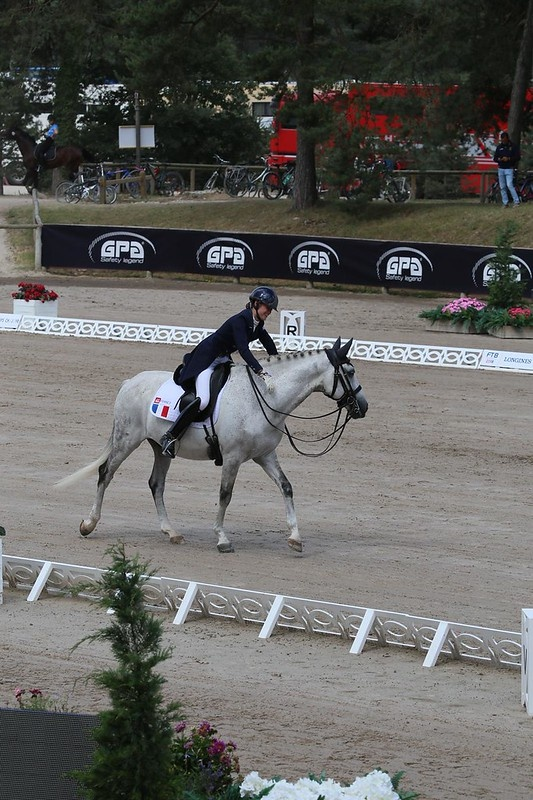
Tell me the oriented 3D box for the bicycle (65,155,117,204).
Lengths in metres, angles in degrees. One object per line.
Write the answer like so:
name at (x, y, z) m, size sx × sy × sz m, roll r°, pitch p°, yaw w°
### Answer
bicycle at (-5.553, -6.699, 42.128) m, size 1.982 × 1.261 × 1.249 m, roll 1°, pitch 5°, yaw 14°

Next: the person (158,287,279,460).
person at (-0.322, -0.232, 12.227) m, size 0.994 × 1.630 × 0.649 m, roll 15°, pitch 16°, yaw 8°

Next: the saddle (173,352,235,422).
saddle at (-0.521, -0.116, 12.178) m, size 0.450 × 0.615 × 0.216 m, roll 11°, pitch -22°, yaw 16°

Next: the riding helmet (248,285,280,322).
riding helmet at (-0.046, -0.839, 11.960) m, size 0.309 × 0.306 × 0.243 m, roll 5°, pitch 7°, yaw 26°

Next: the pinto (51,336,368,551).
pinto at (-0.569, 0.419, 12.488) m, size 2.970 × 1.953 × 0.797 m, roll 1°, pitch 4°, yaw 17°

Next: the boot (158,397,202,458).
boot at (-0.745, 0.235, 12.074) m, size 0.190 × 0.695 × 0.213 m, roll 41°, pitch 31°, yaw 10°

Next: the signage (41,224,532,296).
signage at (-0.120, -3.247, 31.122) m, size 11.030 × 1.241 × 1.360 m, roll 5°, pitch 13°, yaw 28°

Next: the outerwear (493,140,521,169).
outerwear at (5.502, -5.728, 32.452) m, size 0.690 × 0.808 × 0.543 m, roll -2°, pitch 21°, yaw 14°

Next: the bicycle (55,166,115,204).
bicycle at (-5.464, -6.595, 42.100) m, size 2.203 × 1.399 × 1.151 m, roll -2°, pitch 4°, yaw 3°

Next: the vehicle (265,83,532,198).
vehicle at (3.455, -7.474, 39.083) m, size 8.829 × 4.051 × 3.127 m, roll 0°, pitch 18°, yaw -6°

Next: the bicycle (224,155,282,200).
bicycle at (-0.426, -7.079, 44.477) m, size 2.097 × 1.311 × 1.059 m, roll 0°, pitch 13°, yaw 3°

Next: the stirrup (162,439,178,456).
stirrup at (-0.810, 0.411, 12.140) m, size 0.115 × 0.159 × 0.144 m, roll -1°, pitch 17°, yaw -32°

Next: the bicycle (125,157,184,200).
bicycle at (-3.514, -7.168, 44.344) m, size 2.027 × 1.217 × 1.054 m, roll 2°, pitch -2°, yaw -14°

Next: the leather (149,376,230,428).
leather at (-0.700, 0.033, 12.201) m, size 0.589 × 0.455 × 0.367 m, roll 20°, pitch -9°, yaw 40°

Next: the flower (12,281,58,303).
flower at (-4.446, -2.074, 26.711) m, size 0.796 × 0.362 × 0.491 m, roll -3°, pitch 12°, yaw -7°
